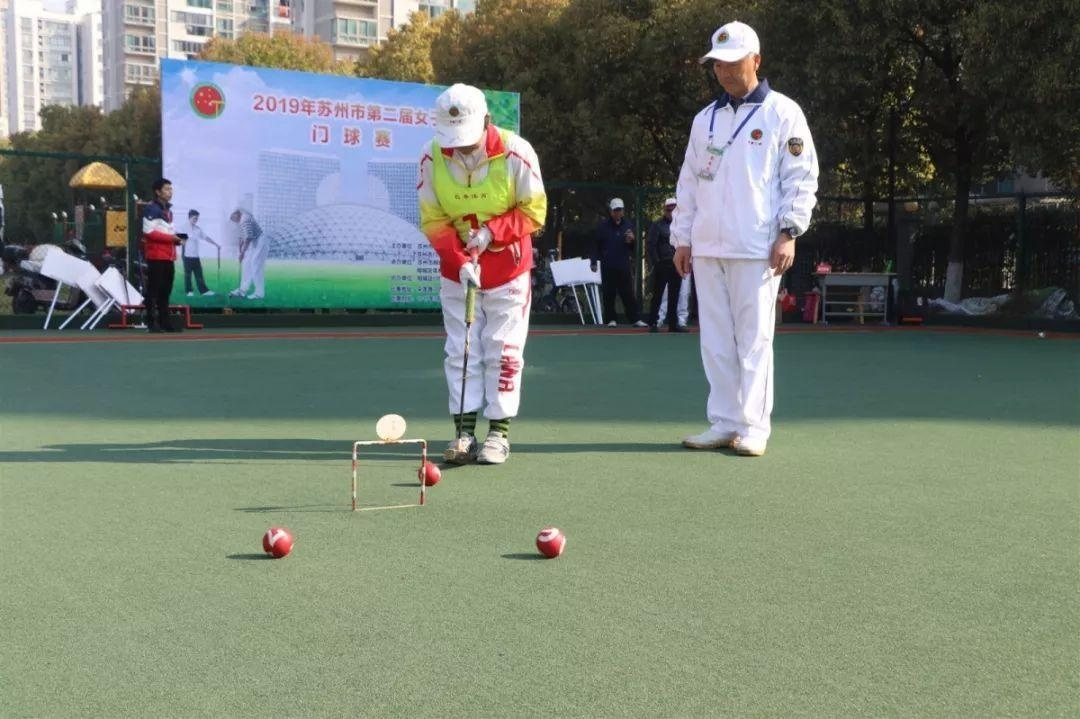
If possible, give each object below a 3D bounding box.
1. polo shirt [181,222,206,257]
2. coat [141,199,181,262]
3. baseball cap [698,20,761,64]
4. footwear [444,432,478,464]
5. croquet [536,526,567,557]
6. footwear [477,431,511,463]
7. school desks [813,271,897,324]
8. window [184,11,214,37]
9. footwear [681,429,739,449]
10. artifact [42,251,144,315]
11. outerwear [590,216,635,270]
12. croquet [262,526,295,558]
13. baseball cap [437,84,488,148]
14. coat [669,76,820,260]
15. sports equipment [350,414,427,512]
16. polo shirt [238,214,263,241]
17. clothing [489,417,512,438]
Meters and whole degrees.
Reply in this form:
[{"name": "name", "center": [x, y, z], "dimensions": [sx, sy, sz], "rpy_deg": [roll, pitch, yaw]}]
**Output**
[{"name": "polo shirt", "center": [-4.965, -1.767, 18.465], "dimensions": [0.462, 0.438, 0.122], "rpy_deg": [-1, 7, -35]}, {"name": "coat", "center": [-5.060, -1.765, 17.296], "dimensions": [0.503, 0.939, 0.775], "rpy_deg": [1, 14, 6]}, {"name": "baseball cap", "center": [1.349, -2.212, 8.890], "dimensions": [0.281, 0.268, 0.438], "rpy_deg": [12, 20, 42]}, {"name": "footwear", "center": [-0.497, 0.605, 8.628], "dimensions": [0.164, 0.147, 0.321], "rpy_deg": [8, 15, 29]}, {"name": "croquet", "center": [0.072, 0.980, 6.879], "dimensions": [0.138, 0.143, 0.137], "rpy_deg": [-7, 12, 10]}, {"name": "footwear", "center": [-0.292, 0.602, 8.664], "dimensions": [0.156, 0.200, 0.452], "rpy_deg": [0, -4, 6]}, {"name": "school desks", "center": [5.421, -1.094, 21.964], "dimensions": [0.980, 0.619, 0.993], "rpy_deg": [1, 6, 1]}, {"name": "window", "center": [-26.570, -26.312, 99.989], "dimensions": [2.107, 1.678, 0.503], "rpy_deg": [-10, 16, -38]}, {"name": "footwear", "center": [1.203, 0.545, 9.019], "dimensions": [0.257, 0.116, 0.174], "rpy_deg": [-1, 0, -14]}, {"name": "artifact", "center": [-6.199, -1.108, 17.819], "dimensions": [1.237, 0.285, 0.778], "rpy_deg": [30, 25, -39]}, {"name": "outerwear", "center": [1.087, -1.704, 18.917], "dimensions": [0.803, 0.949, 0.650], "rpy_deg": [0, -2, -6]}, {"name": "croquet", "center": [-1.382, 0.973, 6.845], "dimensions": [0.164, 0.132, 0.159], "rpy_deg": [-3, 13, -16]}, {"name": "baseball cap", "center": [-0.503, -1.593, 8.369], "dimensions": [0.279, 0.237, 0.438], "rpy_deg": [0, 45, 6]}, {"name": "coat", "center": [1.439, -1.332, 8.983], "dimensions": [0.974, 1.222, 0.486], "rpy_deg": [2, 12, 7]}, {"name": "sports equipment", "center": [-0.951, 0.681, 8.151], "dimensions": [0.509, 0.641, 0.043], "rpy_deg": [-1, 2, -23]}, {"name": "polo shirt", "center": [-4.204, -1.975, 19.029], "dimensions": [0.293, 0.465, 0.485], "rpy_deg": [-3, 14, 6]}, {"name": "clothing", "center": [-0.263, 0.468, 8.788], "dimensions": [0.134, 0.137, 0.129], "rpy_deg": [1, 1, 20]}]
